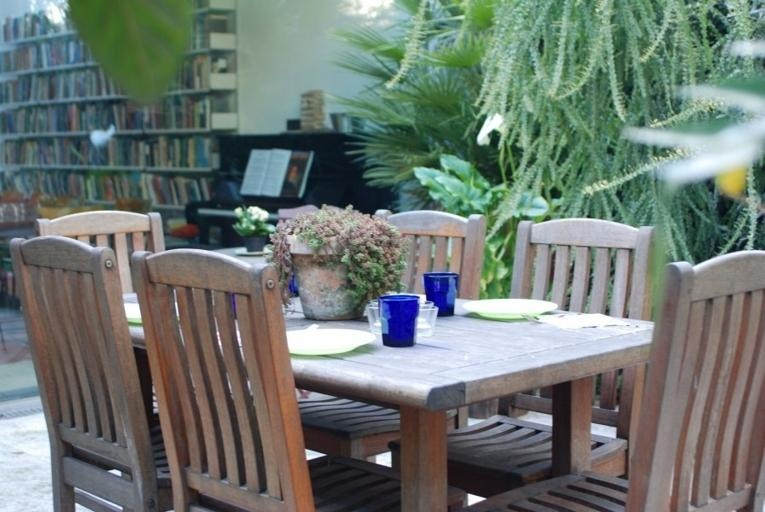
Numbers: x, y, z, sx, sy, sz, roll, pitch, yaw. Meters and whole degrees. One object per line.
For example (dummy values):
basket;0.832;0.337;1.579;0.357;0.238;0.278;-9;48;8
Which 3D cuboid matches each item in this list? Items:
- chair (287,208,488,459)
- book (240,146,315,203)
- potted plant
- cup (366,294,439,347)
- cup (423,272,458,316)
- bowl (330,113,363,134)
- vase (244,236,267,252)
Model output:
chair;0.060;0.248;2.204;0.505;0.679;0.478;-19;21;-28
book;-0.556;-0.429;4.090;0.333;0.268;0.521;1;7;10
potted plant;-0.082;0.031;1.665;0.278;0.210;0.264;2;1;-2
cup;0.034;0.121;1.442;0.088;0.079;0.121;-3;-5;25
cup;0.140;0.085;1.722;0.090;0.094;0.087;1;3;0
bowl;-0.208;-0.707;4.036;0.153;0.094;0.305;3;7;22
vase;-0.588;-0.066;3.653;0.108;0.078;0.106;1;11;-2
